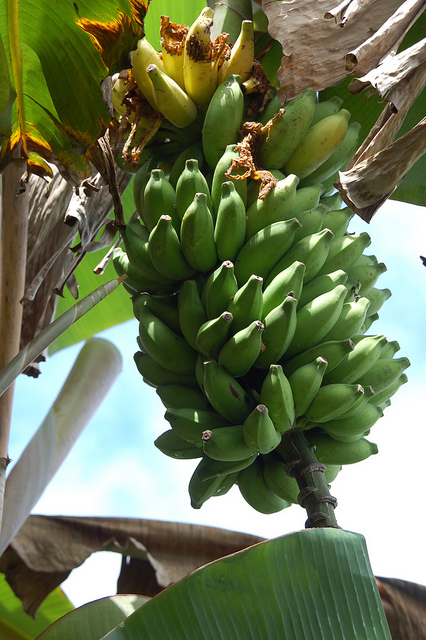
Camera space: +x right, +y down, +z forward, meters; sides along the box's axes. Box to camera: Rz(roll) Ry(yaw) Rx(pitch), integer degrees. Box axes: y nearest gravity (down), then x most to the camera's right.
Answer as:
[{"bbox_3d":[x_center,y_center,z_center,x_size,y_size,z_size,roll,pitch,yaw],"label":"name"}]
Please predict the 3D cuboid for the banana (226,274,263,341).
[{"bbox_3d":[0.079,-0.033,1.734,0.060,0.161,0.056,16,51,-7],"label":"banana"}]

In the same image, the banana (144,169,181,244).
[{"bbox_3d":[-0.144,-0.336,1.969,0.077,0.249,0.089,-8,29,4],"label":"banana"}]

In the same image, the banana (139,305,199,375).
[{"bbox_3d":[-0.112,0.059,1.911,0.167,0.054,0.120,46,8,-1],"label":"banana"}]

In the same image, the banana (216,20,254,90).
[{"bbox_3d":[0.081,-0.804,2.225,0.070,0.240,0.088,21,10,-21],"label":"banana"}]

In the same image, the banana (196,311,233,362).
[{"bbox_3d":[0.000,0.046,1.745,0.055,0.162,0.058,2,59,4],"label":"banana"}]

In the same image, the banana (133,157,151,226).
[{"bbox_3d":[-0.226,-0.400,2.226,0.057,0.204,0.075,11,-17,-14],"label":"banana"}]

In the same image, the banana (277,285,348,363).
[{"bbox_3d":[0.261,0.004,1.841,0.094,0.255,0.081,18,27,-54],"label":"banana"}]

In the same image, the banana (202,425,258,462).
[{"bbox_3d":[0.039,0.301,1.709,0.103,0.079,0.036,-22,43,-40],"label":"banana"}]

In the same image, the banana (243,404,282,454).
[{"bbox_3d":[0.107,0.261,1.648,0.084,0.115,0.078,-8,1,21],"label":"banana"}]

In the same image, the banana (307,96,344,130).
[{"bbox_3d":[0.356,-0.653,2.203,0.052,0.056,0.166,49,54,0],"label":"banana"}]

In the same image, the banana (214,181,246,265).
[{"bbox_3d":[0.048,-0.245,1.894,0.088,0.247,0.073,-7,34,-6],"label":"banana"}]

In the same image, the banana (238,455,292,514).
[{"bbox_3d":[0.143,0.462,2.015,0.176,0.139,0.047,42,15,0],"label":"banana"}]

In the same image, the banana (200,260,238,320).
[{"bbox_3d":[0.027,-0.080,1.820,0.101,0.171,0.063,11,54,-1],"label":"banana"}]

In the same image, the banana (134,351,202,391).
[{"bbox_3d":[-0.150,0.131,2.054,0.251,0.078,0.065,5,24,-47],"label":"banana"}]

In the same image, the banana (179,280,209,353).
[{"bbox_3d":[-0.058,-0.006,1.888,0.067,0.190,0.067,-7,4,-23],"label":"banana"}]

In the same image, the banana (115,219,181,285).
[{"bbox_3d":[-0.171,-0.185,1.959,0.208,0.055,0.084,47,19,-4],"label":"banana"}]

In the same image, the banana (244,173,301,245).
[{"bbox_3d":[0.175,-0.331,2.016,0.119,0.106,0.356,-10,5,-16],"label":"banana"}]

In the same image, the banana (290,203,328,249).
[{"bbox_3d":[0.277,-0.273,2.018,0.052,0.055,0.161,29,58,22],"label":"banana"}]

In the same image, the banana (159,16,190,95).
[{"bbox_3d":[-0.122,-0.827,2.194,0.075,0.255,0.088,-11,4,-5],"label":"banana"}]

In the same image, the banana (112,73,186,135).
[{"bbox_3d":[-0.183,-0.650,2.129,0.293,0.110,0.068,35,70,6],"label":"banana"}]

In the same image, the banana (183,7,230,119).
[{"bbox_3d":[-0.060,-0.781,2.154,0.106,0.378,0.140,22,26,31],"label":"banana"}]

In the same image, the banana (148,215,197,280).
[{"bbox_3d":[-0.101,-0.171,1.914,0.073,0.209,0.136,-12,36,13],"label":"banana"}]

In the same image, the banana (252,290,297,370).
[{"bbox_3d":[0.164,0.030,1.784,0.072,0.213,0.075,-14,56,-36],"label":"banana"}]

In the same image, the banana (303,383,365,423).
[{"bbox_3d":[0.286,0.215,1.788,0.059,0.184,0.065,52,37,-3],"label":"banana"}]
